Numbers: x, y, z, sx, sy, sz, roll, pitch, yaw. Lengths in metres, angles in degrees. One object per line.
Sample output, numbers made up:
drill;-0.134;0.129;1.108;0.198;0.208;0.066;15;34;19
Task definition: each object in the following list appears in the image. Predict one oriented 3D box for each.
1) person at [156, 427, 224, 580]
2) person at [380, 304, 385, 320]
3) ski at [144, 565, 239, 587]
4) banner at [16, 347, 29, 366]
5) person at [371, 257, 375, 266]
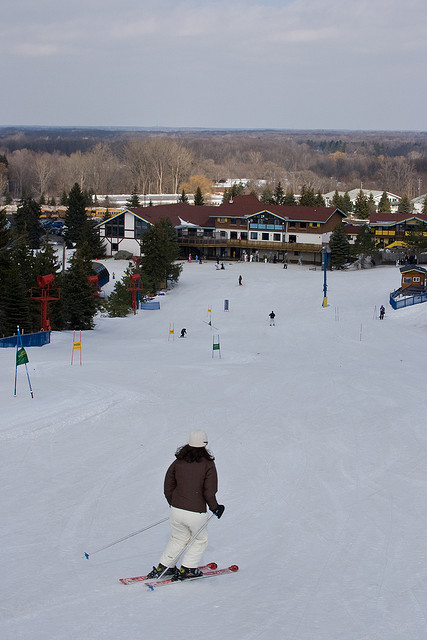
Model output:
person;-0.306;2.466;12.898;0.612;2.256;0.648;12;24;10
person;8.927;-0.392;51.019;0.215;0.619;0.957;4;5;8
ski;-0.321;3.644;13.664;0.249;0.177;2.013;15;5;36
banner;-5.718;1.100;29.016;0.062;0.695;0.562;0;4;32
person;14.263;-5.309;86.241;0.279;0.654;0.813;5;5;18
